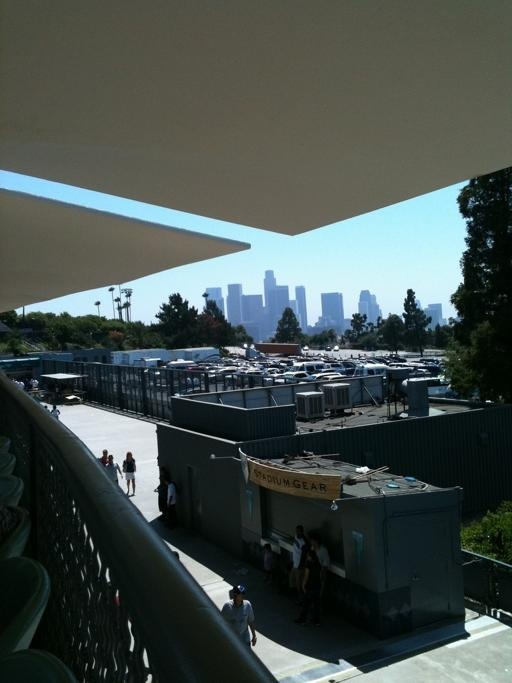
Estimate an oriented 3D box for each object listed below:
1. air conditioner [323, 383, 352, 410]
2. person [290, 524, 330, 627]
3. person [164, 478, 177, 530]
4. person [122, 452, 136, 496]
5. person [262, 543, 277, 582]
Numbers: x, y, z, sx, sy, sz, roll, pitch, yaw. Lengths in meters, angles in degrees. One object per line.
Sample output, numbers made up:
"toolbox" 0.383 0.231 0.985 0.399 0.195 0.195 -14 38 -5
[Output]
"air conditioner" 2.919 1.932 19.548 0.901 1.175 1.110 -5 7 -21
"person" 1.044 4.412 9.879 0.557 1.692 1.039 2 2 8
"person" -2.316 4.450 14.697 0.290 1.212 0.692 1 2 -9
"person" -3.884 3.990 16.481 0.373 1.470 1.544 1 1 -13
"person" 0.286 4.644 11.271 0.209 0.860 0.325 1 2 5
